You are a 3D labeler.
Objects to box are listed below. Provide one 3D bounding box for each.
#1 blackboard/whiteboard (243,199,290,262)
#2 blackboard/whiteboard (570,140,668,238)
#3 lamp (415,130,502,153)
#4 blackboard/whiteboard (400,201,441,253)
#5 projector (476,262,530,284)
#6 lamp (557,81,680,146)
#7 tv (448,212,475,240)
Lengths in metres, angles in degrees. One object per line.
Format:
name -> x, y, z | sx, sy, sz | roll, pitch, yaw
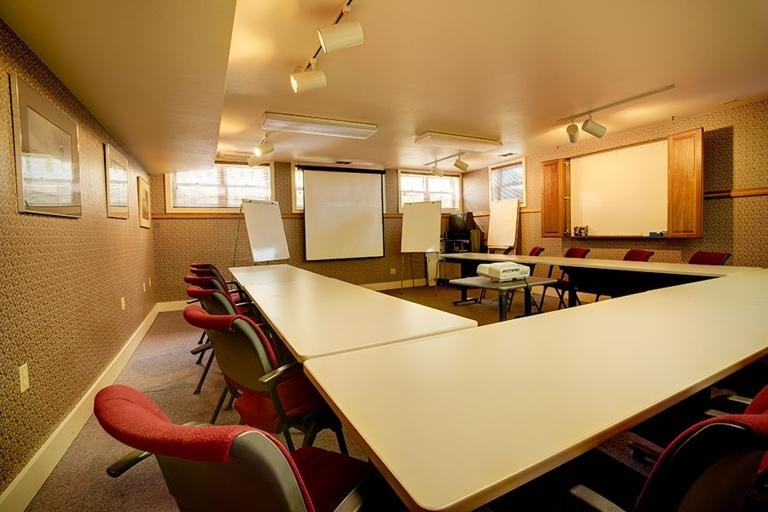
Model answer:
blackboard/whiteboard -> -1.783, -0.371, 7.131 | 0.118, 1.079, 0.955 | -13, 1, 26
blackboard/whiteboard -> 3.462, -0.909, 7.005 | 0.573, 1.303, 1.523 | 2, 0, -36
lamp -> 1.032, -1.632, 6.745 | 1.310, 0.144, 0.431 | -4, 5, -31
blackboard/whiteboard -> 0.670, -0.518, 8.580 | 0.983, 1.100, 0.111 | -1, 0, 36
projector -> 1.111, 0.143, 4.665 | 0.279, 0.107, 0.270 | -3, 7, -25
lamp -> 2.619, -1.637, 5.603 | 0.528, 0.418, 1.378 | -3, 5, -25
tv -> 1.452, -0.558, 8.954 | 0.298, 0.502, 0.549 | -1, 4, -21
